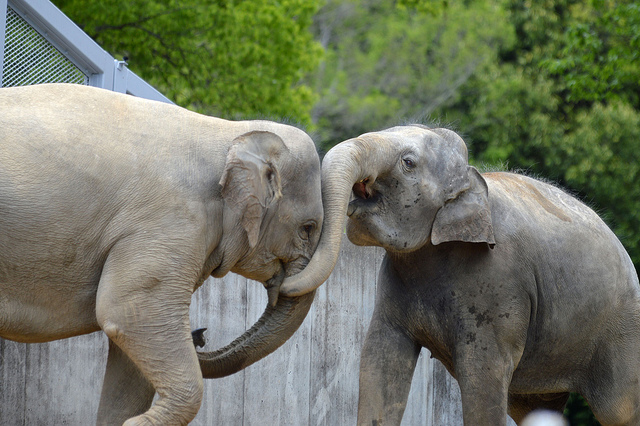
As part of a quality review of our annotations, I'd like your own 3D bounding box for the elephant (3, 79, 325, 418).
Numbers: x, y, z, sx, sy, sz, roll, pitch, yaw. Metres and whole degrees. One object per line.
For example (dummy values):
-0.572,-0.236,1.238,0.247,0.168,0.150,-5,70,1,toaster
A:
-1.208,0.213,9.886,2.295,1.205,1.937,5,65,3,elephant
